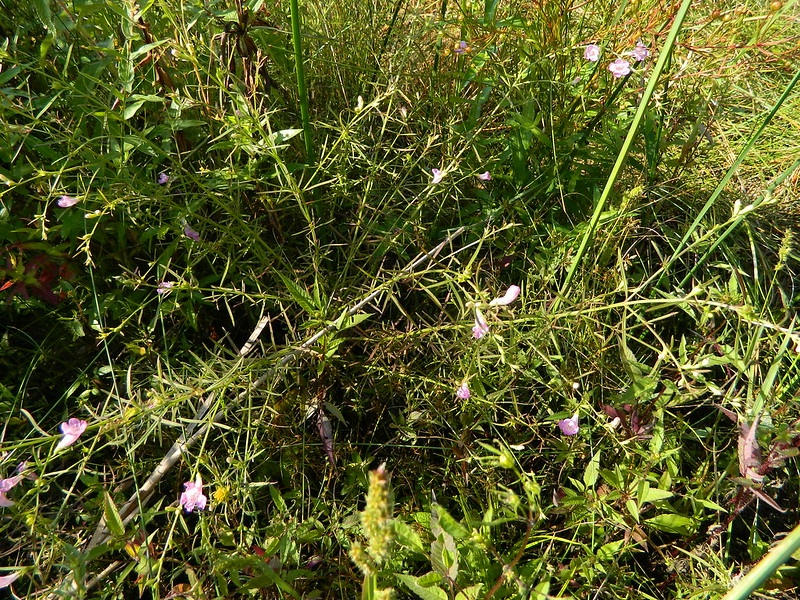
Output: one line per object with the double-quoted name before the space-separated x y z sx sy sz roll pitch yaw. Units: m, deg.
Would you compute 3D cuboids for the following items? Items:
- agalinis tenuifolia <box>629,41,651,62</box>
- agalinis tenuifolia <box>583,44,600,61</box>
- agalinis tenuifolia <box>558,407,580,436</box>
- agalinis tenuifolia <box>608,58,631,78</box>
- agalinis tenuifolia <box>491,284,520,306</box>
"agalinis tenuifolia" 0.680 -0.700 1.746 0.061 0.069 0.033 8 13 7
"agalinis tenuifolia" 0.567 -0.728 1.837 0.046 0.050 0.023 -18 2 23
"agalinis tenuifolia" 0.414 0.296 1.506 0.055 0.051 0.024 -37 2 25
"agalinis tenuifolia" 0.624 -0.656 1.745 0.059 0.041 0.066 18 42 15
"agalinis tenuifolia" 0.256 -0.011 1.505 0.089 0.036 0.027 -22 1 41
